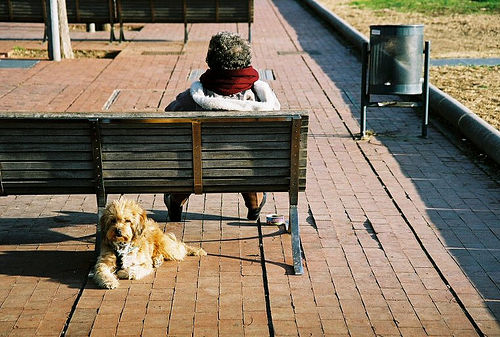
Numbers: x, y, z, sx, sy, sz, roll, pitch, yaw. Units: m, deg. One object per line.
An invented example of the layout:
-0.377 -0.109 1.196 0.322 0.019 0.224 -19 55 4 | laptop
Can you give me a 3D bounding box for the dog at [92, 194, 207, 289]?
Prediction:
-1.078 0.714 5.410 0.772 0.695 1.528 -7 -3 16 | dog
